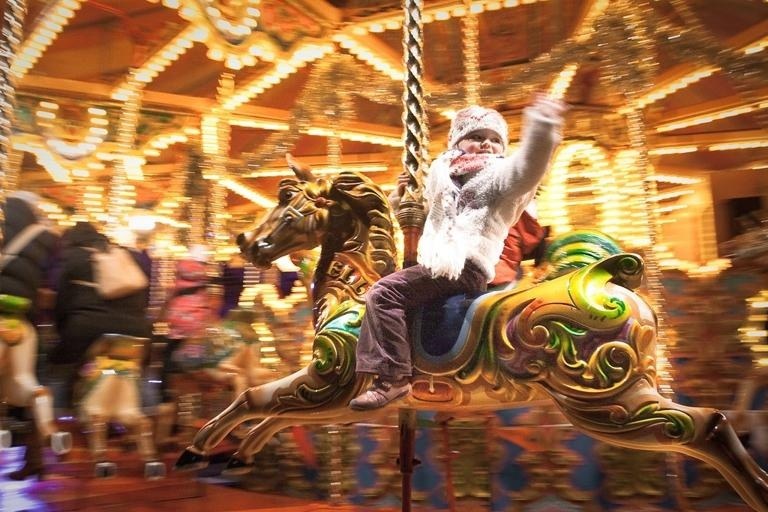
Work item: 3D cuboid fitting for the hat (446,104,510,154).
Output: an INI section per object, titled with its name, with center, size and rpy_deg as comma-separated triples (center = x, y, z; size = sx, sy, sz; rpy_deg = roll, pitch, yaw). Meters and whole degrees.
[hat]
center = 0.680, -0.937, 5.358
size = 0.414, 0.227, 0.399
rpy_deg = 1, 0, 2

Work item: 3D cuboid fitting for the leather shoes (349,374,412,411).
[leather shoes]
center = 0.013, 0.883, 4.964
size = 0.564, 0.156, 0.156
rpy_deg = -12, 29, -20

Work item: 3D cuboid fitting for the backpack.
[backpack]
center = -2.252, 0.138, 6.088
size = 0.628, 0.402, 0.184
rpy_deg = -18, -2, -26
